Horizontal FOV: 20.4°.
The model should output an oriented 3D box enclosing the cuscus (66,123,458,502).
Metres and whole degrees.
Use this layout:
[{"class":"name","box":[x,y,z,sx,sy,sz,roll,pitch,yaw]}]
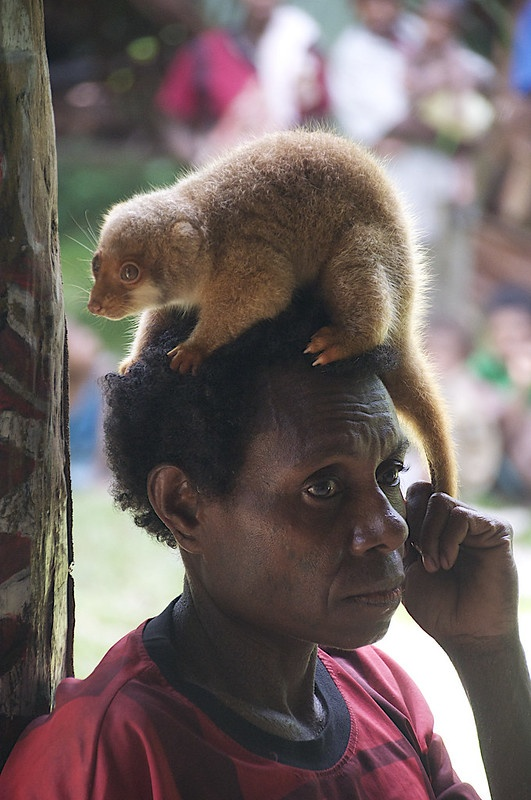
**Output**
[{"class":"cuscus","box":[0.052,-0.254,3.157,0.835,0.626,0.414,5,10,-21]}]
